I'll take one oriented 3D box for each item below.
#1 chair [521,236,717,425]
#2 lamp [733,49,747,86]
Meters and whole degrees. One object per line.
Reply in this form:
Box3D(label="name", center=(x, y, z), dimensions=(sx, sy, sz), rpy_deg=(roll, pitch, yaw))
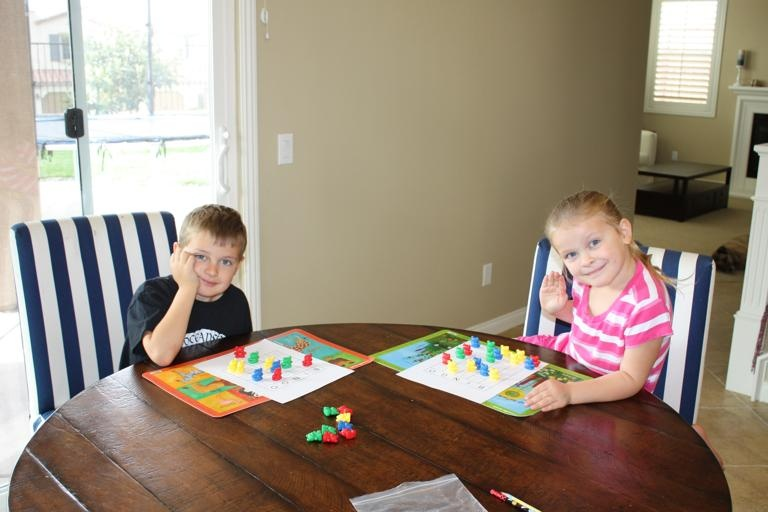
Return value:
Box3D(label="chair", center=(0.762, 0.302, 1.954), dimensions=(0.605, 0.711, 0.471), rpy_deg=(5, 10, -9))
Box3D(label="lamp", center=(5.230, -2.769, 7.883), dimensions=(0.150, 0.490, 0.183), rpy_deg=(9, 18, 42))
